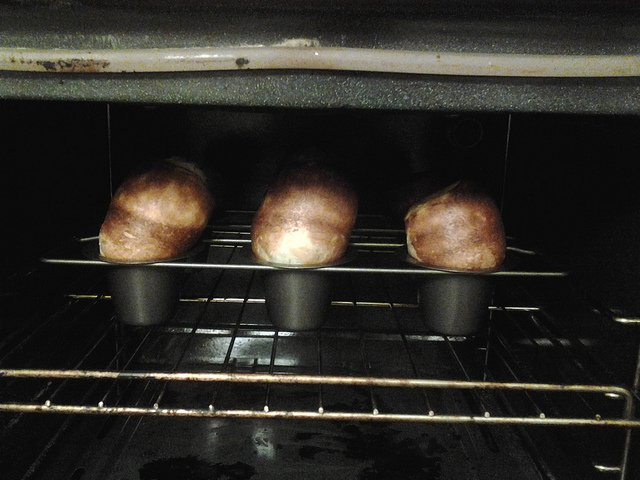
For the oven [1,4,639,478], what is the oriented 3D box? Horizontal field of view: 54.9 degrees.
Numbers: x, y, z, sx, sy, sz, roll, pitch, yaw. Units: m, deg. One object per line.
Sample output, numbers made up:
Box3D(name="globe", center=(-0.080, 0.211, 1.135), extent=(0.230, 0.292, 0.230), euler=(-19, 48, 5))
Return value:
Box3D(name="oven", center=(0.025, 0.017, 1.309), extent=(1.215, 0.835, 0.782), euler=(0, 4, 1))
